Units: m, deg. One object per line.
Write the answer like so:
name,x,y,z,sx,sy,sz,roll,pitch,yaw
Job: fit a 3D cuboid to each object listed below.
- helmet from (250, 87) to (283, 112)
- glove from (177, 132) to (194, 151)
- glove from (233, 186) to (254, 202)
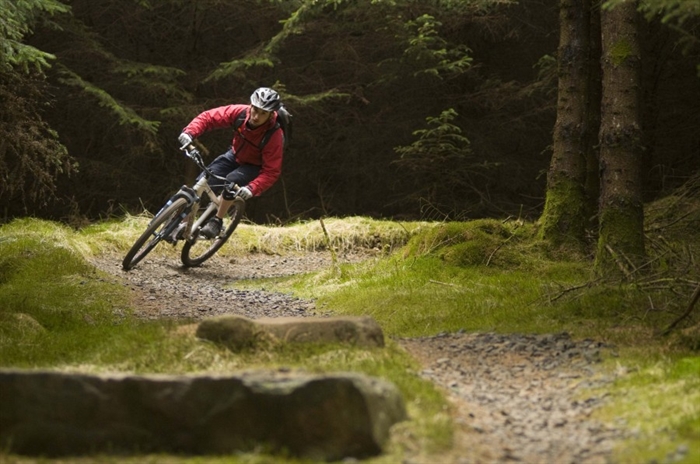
helmet,-1.685,-2.702,17.128,0.586,0.454,0.471,7,9,-9
glove,-3.329,-1.868,17.145,0.268,0.354,0.555,7,9,-11
glove,-2.210,-0.791,17.484,0.351,0.404,0.945,7,9,-9
